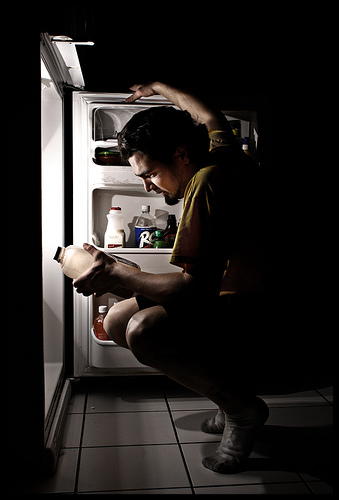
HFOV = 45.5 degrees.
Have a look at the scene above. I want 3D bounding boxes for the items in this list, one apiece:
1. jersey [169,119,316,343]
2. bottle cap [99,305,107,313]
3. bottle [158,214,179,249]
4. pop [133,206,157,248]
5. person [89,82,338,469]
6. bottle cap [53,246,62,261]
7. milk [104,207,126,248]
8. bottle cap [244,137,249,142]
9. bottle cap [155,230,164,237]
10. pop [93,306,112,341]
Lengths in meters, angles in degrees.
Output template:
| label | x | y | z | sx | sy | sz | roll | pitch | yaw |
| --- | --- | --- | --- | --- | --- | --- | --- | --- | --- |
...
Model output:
| label | x | y | z | sx | sy | sz | roll | pitch | yaw |
| --- | --- | --- | --- | --- | --- | --- | --- | --- | --- |
| jersey | 0.179 | -0.087 | 1.128 | 0.479 | 0.656 | 0.264 | 2 | -3 | -27 |
| bottle cap | -0.298 | 0.264 | 1.796 | 0.030 | 0.026 | 0.030 | 1 | -8 | 1 |
| bottle | 0.020 | -0.079 | 1.895 | 0.103 | 0.171 | 0.100 | -4 | 8 | 1 |
| pop | -0.121 | -0.111 | 1.901 | 0.078 | 0.191 | 0.100 | 1 | 7 | -16 |
| person | 0.159 | 0.052 | 1.652 | 0.902 | 1.377 | 1.012 | -5 | 8 | 1 |
| bottle cap | -0.315 | 0.009 | 1.137 | 0.016 | 0.038 | 0.069 | 1 | -3 | -16 |
| milk | -0.257 | -0.102 | 1.861 | 0.090 | 0.179 | 0.099 | 1 | 7 | -27 |
| bottle cap | 0.353 | -0.507 | 1.848 | 0.018 | 0.034 | 0.018 | 1 | -3 | 22 |
| bottle cap | -0.048 | -0.075 | 1.859 | 0.039 | 0.029 | 0.020 | 1 | -3 | -3 |
| pop | -0.297 | 0.323 | 1.778 | 0.070 | 0.148 | 0.184 | 1 | -3 | -18 |
